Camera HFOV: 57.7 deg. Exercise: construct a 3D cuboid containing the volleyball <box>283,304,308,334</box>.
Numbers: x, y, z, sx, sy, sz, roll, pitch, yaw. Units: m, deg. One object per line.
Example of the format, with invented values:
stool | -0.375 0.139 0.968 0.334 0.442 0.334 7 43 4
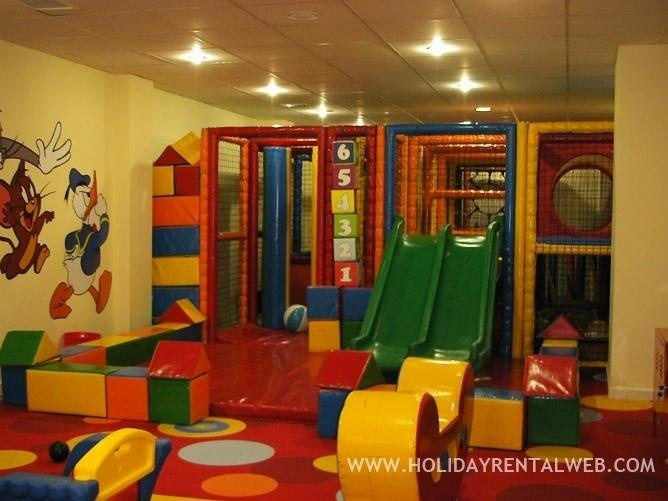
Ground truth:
volleyball | -0.591 1.026 8.961 0.484 0.394 0.227 9 13 42
